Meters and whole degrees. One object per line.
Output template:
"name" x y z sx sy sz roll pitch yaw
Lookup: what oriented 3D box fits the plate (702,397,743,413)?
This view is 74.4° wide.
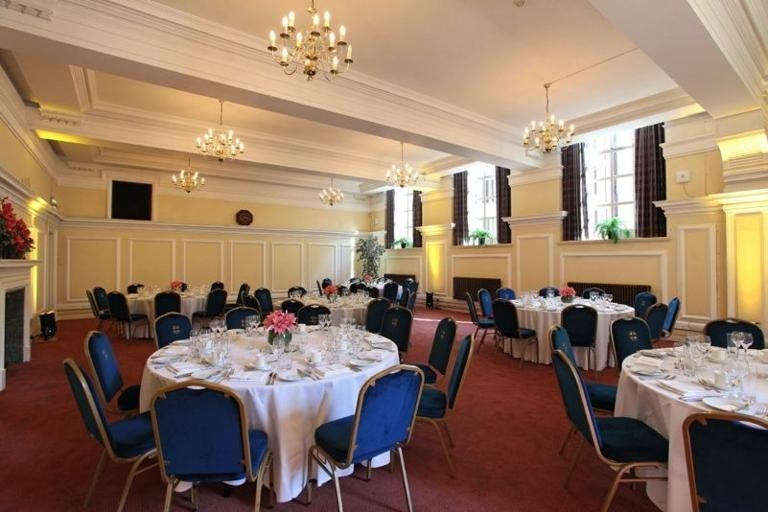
"plate" 3.409 1.507 5.144 0.328 0.101 0.184 0 -1 -5

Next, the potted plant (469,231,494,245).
"potted plant" 2.610 -0.498 13.686 0.671 0.432 0.339 0 -1 28

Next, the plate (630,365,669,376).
"plate" 2.920 1.292 5.641 0.160 0.044 0.203 -3 5 -38

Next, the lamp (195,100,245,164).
"lamp" -3.277 -2.545 10.121 0.934 1.447 0.951 0 -11 -5

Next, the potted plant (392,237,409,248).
"potted plant" 0.559 -0.400 16.427 0.341 0.250 0.342 3 -8 -18

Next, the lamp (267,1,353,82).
"lamp" -1.091 -3.144 7.274 1.165 1.505 1.182 1 5 2

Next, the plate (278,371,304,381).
"plate" -1.054 1.341 5.638 0.256 0.076 0.200 1 -1 -18

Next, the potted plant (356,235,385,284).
"potted plant" -0.432 -0.029 16.997 0.821 1.490 1.135 1 -1 -21

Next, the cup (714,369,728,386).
"cup" 3.573 1.321 5.419 0.103 0.162 0.170 1 1 10

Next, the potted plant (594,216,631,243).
"potted plant" 4.887 -0.554 10.850 0.567 0.395 0.533 -1 5 -10
